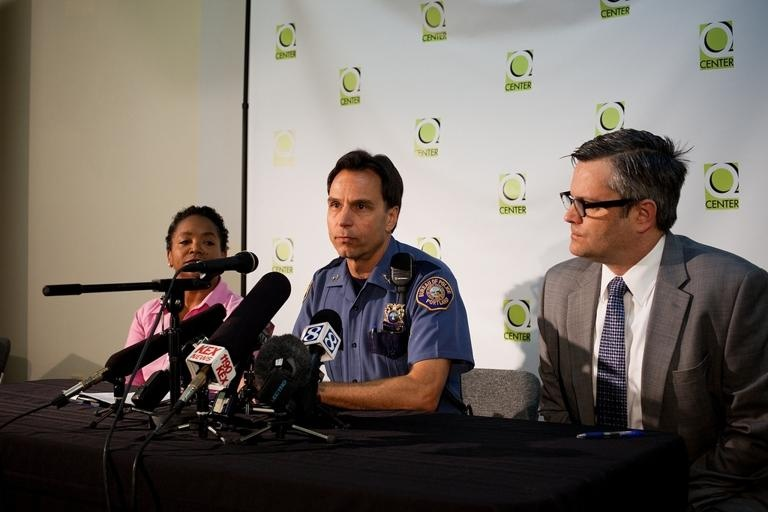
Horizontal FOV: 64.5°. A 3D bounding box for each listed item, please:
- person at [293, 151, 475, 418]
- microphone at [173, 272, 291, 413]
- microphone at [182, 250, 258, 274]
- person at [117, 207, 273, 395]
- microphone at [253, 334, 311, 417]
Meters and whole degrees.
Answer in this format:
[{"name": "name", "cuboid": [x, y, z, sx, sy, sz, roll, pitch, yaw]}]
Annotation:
[{"name": "person", "cuboid": [-0.014, 0.056, 3.112, 0.757, 1.255, 0.940, -1, 2, -22]}, {"name": "microphone", "cuboid": [-0.520, 0.258, 2.429, 0.186, 0.168, 0.819, 39, 41, 2]}, {"name": "microphone", "cuboid": [-0.646, 0.014, 2.452, 0.107, 0.117, 0.423, 0, 1, 27]}, {"name": "person", "cuboid": [-1.289, 0.410, 4.074, 0.969, 1.584, 0.838, -1, -11, -2]}, {"name": "microphone", "cuboid": [-0.350, 0.438, 2.186, 0.220, 0.303, 0.155, 0, 2, -15]}]
